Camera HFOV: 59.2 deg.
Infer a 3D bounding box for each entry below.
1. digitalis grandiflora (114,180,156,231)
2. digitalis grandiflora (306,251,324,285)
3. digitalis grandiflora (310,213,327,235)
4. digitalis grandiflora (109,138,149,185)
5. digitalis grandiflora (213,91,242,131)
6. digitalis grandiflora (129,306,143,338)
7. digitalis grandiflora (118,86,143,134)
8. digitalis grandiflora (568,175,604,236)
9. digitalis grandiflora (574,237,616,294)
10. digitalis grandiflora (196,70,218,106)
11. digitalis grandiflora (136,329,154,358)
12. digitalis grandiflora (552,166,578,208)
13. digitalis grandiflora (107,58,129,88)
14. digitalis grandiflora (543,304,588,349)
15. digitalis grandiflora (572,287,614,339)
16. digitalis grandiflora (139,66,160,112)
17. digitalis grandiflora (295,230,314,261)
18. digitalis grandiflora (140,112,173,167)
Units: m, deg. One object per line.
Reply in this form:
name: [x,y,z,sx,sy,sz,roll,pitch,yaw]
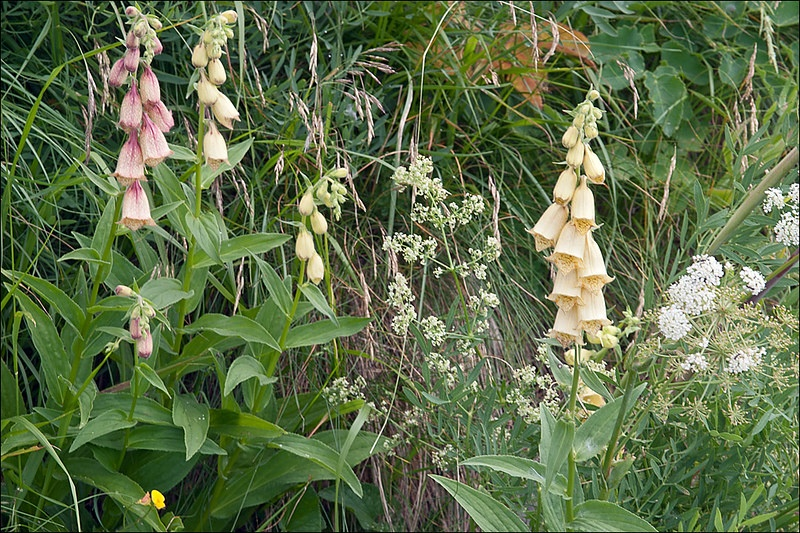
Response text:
digitalis grandiflora: [-1.027,-0.241,2.744,0.160,0.256,0.131,-1,-2,-44]
digitalis grandiflora: [-0.336,0.009,2.827,0.061,0.121,0.053,-3,-1,3]
digitalis grandiflora: [-0.314,-0.173,2.796,0.061,0.043,0.087,-38,95,-15]
digitalis grandiflora: [-1.049,-0.435,2.766,0.104,0.101,0.245,7,77,-28]
digitalis grandiflora: [-0.695,-0.612,2.811,0.085,0.063,0.168,-20,74,-38]
digitalis grandiflora: [-1.007,0.223,2.701,0.038,0.119,0.051,-5,41,-29]
digitalis grandiflora: [-1.028,-0.600,2.710,0.084,0.168,0.094,1,39,-22]
digitalis grandiflora: [0.656,-0.230,2.513,0.063,0.203,0.073,0,-9,23]
digitalis grandiflora: [0.719,-0.001,2.571,0.084,0.258,0.126,1,0,9]
digitalis grandiflora: [-0.747,-0.676,2.741,0.089,0.125,0.080,16,36,-5]
digitalis grandiflora: [-0.991,0.309,2.747,0.057,0.132,0.050,-15,46,-38]
digitalis grandiflora: [0.590,-0.275,2.540,0.068,0.050,0.141,15,80,20]
digitalis grandiflora: [-1.081,-0.748,2.715,0.063,0.143,0.117,0,40,-24]
digitalis grandiflora: [0.631,0.226,2.658,0.128,0.124,0.191,4,67,37]
digitalis grandiflora: [0.718,0.157,2.599,0.073,0.215,0.137,0,-1,1]
digitalis grandiflora: [-0.970,-0.706,2.740,0.070,0.147,0.144,-1,41,-25]
digitalis grandiflora: [-0.366,-0.077,2.773,0.077,0.128,0.072,14,36,-7]
digitalis grandiflora: [-0.978,-0.517,2.768,0.101,0.245,0.113,-15,3,-25]
